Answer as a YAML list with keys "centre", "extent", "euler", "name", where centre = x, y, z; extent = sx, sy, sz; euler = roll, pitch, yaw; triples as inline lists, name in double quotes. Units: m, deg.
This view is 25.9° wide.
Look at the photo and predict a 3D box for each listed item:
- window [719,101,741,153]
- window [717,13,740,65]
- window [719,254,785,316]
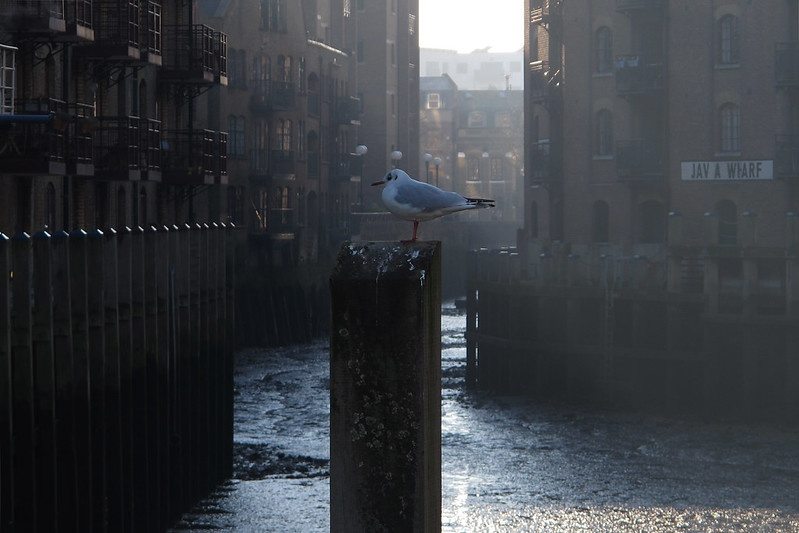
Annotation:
- centre: [13.210, -5.338, 69.406]
  extent: [0.835, 2.073, 0.220]
  euler: [0, -21, 10]
  name: "window"
- centre: [12.997, -8.896, 69.094]
  extent: [0.153, 2.014, 0.773]
  euler: [5, 3, -27]
  name: "window"
- centre: [12.387, 0.666, 60.663]
  extent: [2.013, 2.108, 1.934]
  euler: [1, -1, 14]
  name: "window"
